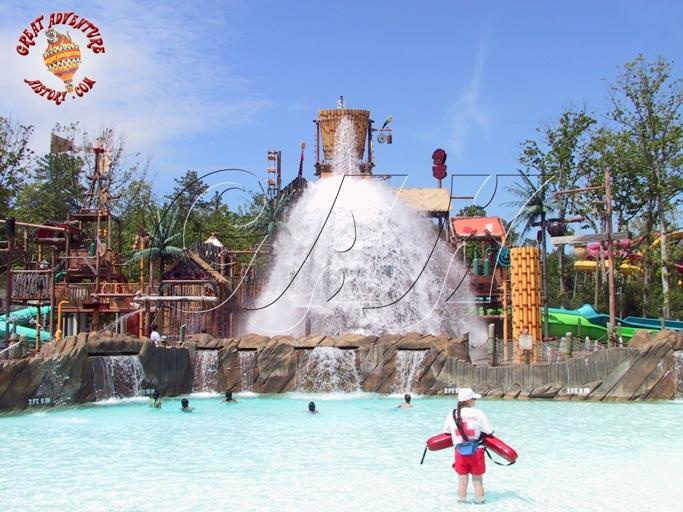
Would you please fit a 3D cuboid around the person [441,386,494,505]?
[{"bbox_3d":[2.611,3.966,16.801,0.784,2.332,1.168,0,-2,5],"label":"person"}]
